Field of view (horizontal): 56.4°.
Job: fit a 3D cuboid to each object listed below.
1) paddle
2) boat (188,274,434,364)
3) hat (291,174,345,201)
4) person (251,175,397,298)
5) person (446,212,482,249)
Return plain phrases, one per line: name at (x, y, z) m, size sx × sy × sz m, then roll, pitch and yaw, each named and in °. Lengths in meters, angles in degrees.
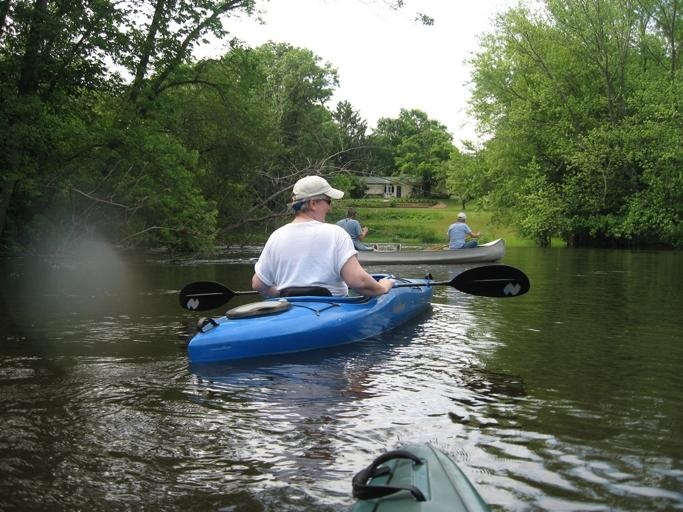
paddle at (0.219, 0.451, 8.257) m, size 4.803 × 0.541 × 0.530 m, roll -2°, pitch -6°, yaw -17°
boat at (-0.012, 0.754, 7.098) m, size 3.126 × 0.435 × 1.000 m, roll -5°, pitch 4°, yaw -42°
hat at (-0.240, -0.683, 6.481) m, size 0.473 × 0.187 × 0.266 m, roll -8°, pitch 14°, yaw -21°
person at (-0.243, -0.151, 6.478) m, size 1.377 × 1.289 × 0.556 m, roll 1°, pitch 10°, yaw 3°
person at (3.452, -0.688, 18.515) m, size 1.184 × 0.960 × 0.962 m, roll -3°, pitch 11°, yaw -33°
